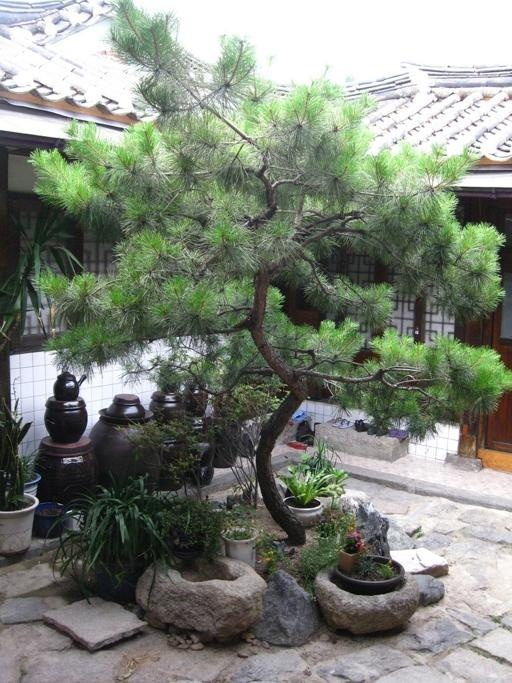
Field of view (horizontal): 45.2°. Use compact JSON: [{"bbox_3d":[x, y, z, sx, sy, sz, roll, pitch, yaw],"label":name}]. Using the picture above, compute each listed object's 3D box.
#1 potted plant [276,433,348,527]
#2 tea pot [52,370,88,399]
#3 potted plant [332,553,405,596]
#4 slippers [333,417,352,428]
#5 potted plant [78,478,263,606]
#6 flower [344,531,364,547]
[{"bbox_3d":[0.432,1.193,5.210,0.475,0.568,0.623,8,5,43],"label":"potted plant"},{"bbox_3d":[-1.642,0.397,5.358,0.230,0.247,0.410,1,6,-18],"label":"tea pot"},{"bbox_3d":[0.721,1.438,3.788,0.436,0.156,0.369,1,6,-21],"label":"potted plant"},{"bbox_3d":[1.099,1.041,7.784,0.240,0.098,0.319,2,6,-11],"label":"slippers"},{"bbox_3d":[-0.562,1.212,3.849,0.845,0.536,0.813,5,-4,19],"label":"potted plant"},{"bbox_3d":[0.620,1.243,3.874,0.095,0.071,0.086,-4,7,-25],"label":"flower"}]
